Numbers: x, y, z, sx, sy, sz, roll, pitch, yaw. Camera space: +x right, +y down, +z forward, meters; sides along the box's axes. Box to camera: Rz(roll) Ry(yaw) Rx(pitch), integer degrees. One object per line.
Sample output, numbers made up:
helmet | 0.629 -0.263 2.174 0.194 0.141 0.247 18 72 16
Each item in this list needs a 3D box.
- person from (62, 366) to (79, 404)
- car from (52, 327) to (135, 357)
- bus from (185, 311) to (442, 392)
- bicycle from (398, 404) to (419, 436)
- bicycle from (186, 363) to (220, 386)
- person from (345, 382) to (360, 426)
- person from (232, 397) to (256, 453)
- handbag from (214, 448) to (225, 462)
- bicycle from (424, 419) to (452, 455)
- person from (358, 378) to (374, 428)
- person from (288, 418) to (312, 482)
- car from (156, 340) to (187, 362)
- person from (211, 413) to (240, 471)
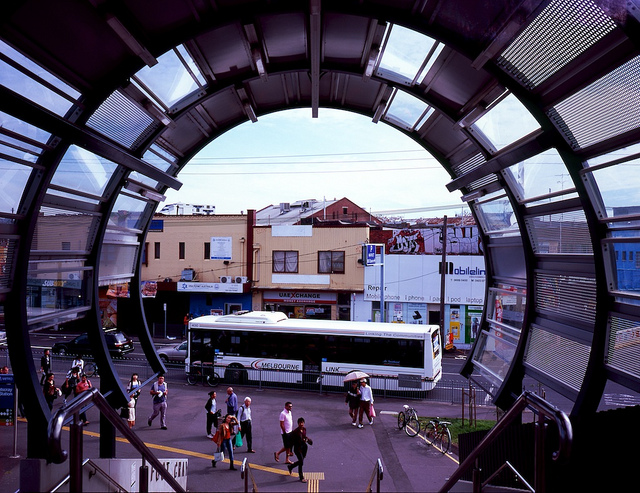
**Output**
person | -9.687 5.307 19.908 0.583 1.576 0.585 9 3 -28
car | -12.782 5.442 29.016 4.232 1.488 1.954 0 -1 19
bus | -0.714 5.167 25.102 11.788 3.661 3.426 2 -11 7
bicycle | 3.138 5.957 17.951 0.545 0.887 1.187 1 -1 -14
bicycle | -5.584 6.143 24.912 1.546 0.993 0.737 1 -5 7
person | 1.221 5.720 18.917 0.480 1.385 0.940 0 -1 3
person | -2.358 5.458 15.945 0.859 1.729 0.611 3 2 14
handbag | -2.971 6.117 14.993 0.344 0.385 0.426 1 5 -16
bicycle | 3.955 6.091 16.807 0.563 0.714 1.160 9 -15 -18
person | 1.627 5.619 18.490 0.501 1.546 0.449 1 -1 -11
person | -0.592 5.609 14.757 0.635 1.614 1.580 0 -1 -2
car | -7.973 5.701 27.975 1.707 1.109 0.778 0 -1 25
person | -2.712 5.652 15.124 0.629 1.501 0.957 1 -1 -9
